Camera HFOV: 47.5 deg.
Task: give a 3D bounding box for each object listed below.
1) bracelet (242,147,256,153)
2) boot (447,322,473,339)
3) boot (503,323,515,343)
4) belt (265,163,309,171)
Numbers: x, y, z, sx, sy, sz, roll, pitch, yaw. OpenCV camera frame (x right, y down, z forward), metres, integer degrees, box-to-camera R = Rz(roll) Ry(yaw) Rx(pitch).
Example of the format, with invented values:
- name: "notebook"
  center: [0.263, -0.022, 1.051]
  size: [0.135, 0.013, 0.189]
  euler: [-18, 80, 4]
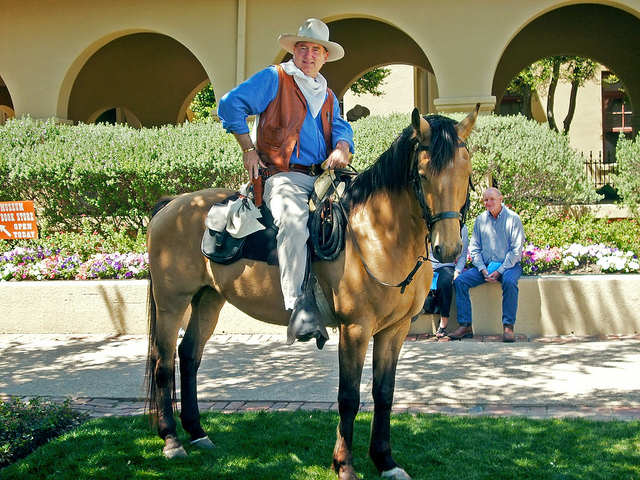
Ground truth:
- name: "bracelet"
  center: [-0.716, -0.928, 7.462]
  size: [0.141, 0.056, 0.098]
  euler: [-2, 2, -25]
- name: "boot"
  center: [2.078, 1.364, 10.943]
  size: [0.415, 0.336, 0.173]
  euler: [0, -1, -1]
- name: "boot"
  center: [2.821, 1.377, 10.843]
  size: [0.162, 0.265, 0.255]
  euler: [-1, 1, 15]
- name: "belt"
  center: [-0.341, -0.766, 7.588]
  size: [0.439, 0.082, 0.074]
  euler: [-2, 1, -3]
